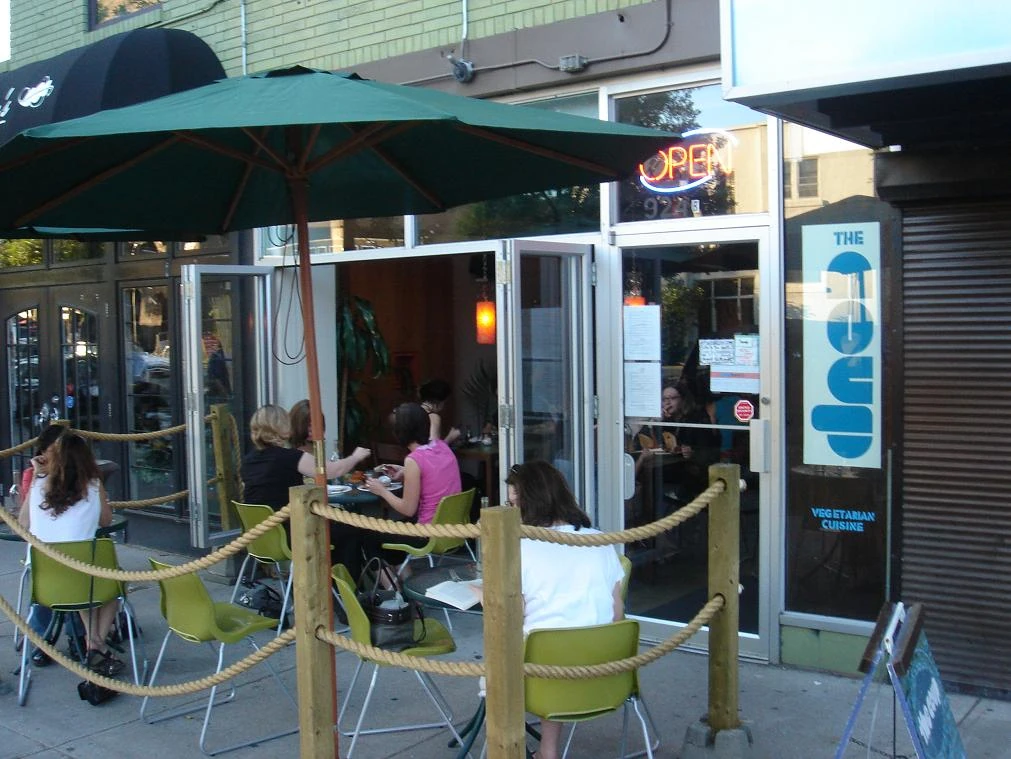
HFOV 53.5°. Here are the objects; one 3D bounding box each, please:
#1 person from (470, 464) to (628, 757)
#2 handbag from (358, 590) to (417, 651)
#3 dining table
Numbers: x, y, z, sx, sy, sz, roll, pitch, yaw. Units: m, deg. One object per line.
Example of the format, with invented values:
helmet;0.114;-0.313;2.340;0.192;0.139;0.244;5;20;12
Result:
person;0.318;1.242;5.056;0.571;1.580;0.554;-3;8;0
handbag;-0.642;1.318;5.402;0.308;0.320;0.255;0;3;-8
dining table;-1.135;1.178;7.600;0.698;0.694;0.709;-2;9;-5
